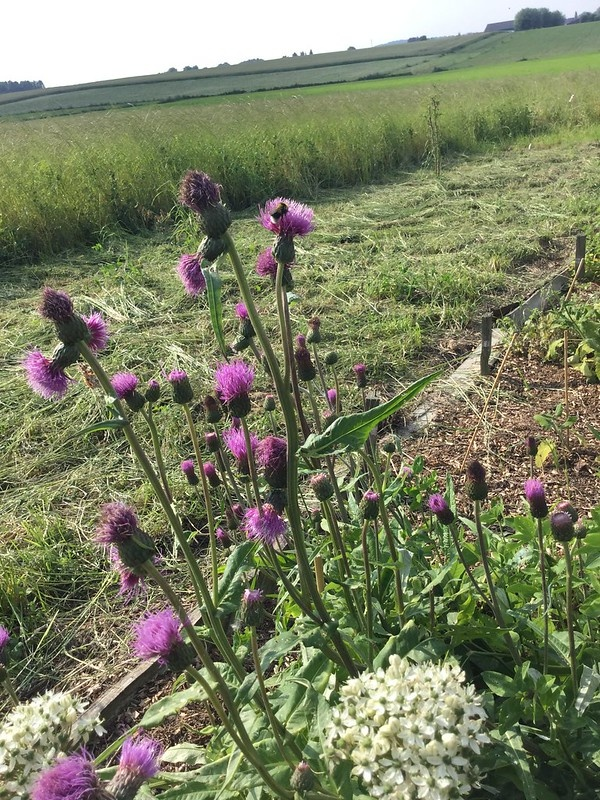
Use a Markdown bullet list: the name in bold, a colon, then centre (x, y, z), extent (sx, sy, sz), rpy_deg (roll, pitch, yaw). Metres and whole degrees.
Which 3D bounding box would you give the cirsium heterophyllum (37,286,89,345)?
- **cirsium heterophyllum**: centre (-0.417, -0.151, 1.268), extent (0.067, 0.115, 0.061), rpy_deg (-34, -11, -13)
